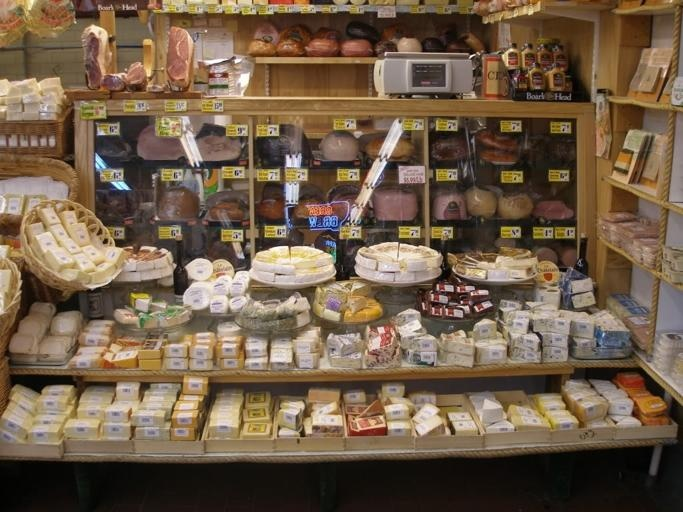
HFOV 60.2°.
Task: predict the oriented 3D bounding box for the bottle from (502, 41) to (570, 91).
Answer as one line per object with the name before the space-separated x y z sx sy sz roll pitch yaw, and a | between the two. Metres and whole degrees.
bottle | 1.251 -1.200 3.776 0.488 0.378 0.152 0 -19 -5

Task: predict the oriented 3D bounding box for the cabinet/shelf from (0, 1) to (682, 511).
cabinet/shelf | 0.037 0.112 3.473 3.659 1.959 1.607 -1 4 -3
